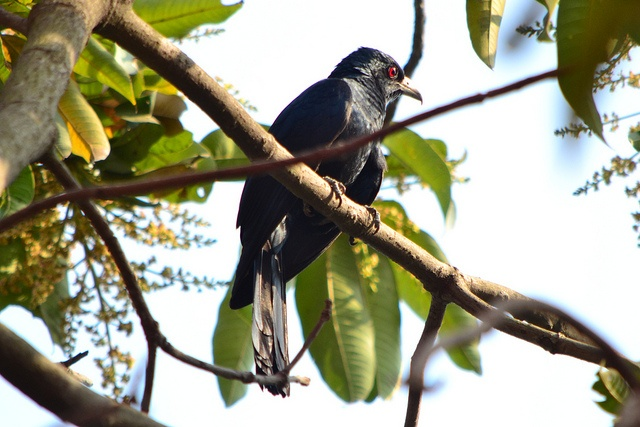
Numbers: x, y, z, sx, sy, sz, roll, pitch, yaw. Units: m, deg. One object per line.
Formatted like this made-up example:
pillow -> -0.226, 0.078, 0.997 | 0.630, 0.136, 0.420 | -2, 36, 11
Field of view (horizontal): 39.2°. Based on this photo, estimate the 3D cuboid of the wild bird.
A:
wild bird -> 0.035, 0.189, 4.776 | 1.109, 2.348, 0.667 | 2, -40, 2
